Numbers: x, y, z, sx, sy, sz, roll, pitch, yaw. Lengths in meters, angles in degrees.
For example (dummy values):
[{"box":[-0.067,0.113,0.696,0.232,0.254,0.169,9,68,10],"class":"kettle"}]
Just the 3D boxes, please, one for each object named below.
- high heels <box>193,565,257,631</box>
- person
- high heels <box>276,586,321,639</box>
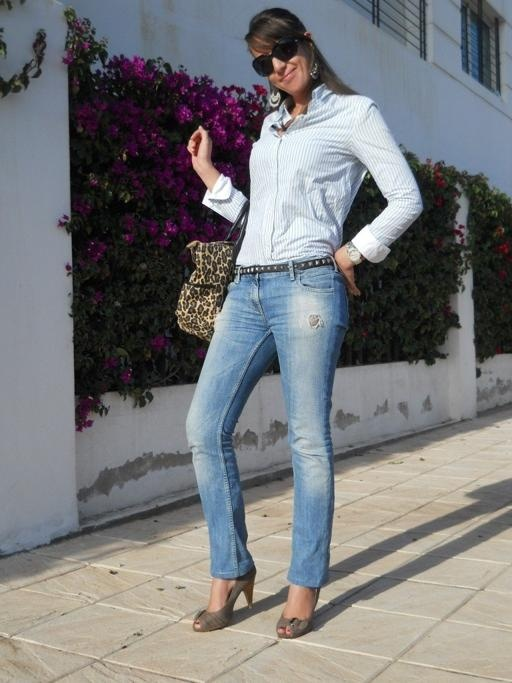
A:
[{"box":[-0.121,0.872,2.601,0.281,0.165,0.093,-13,-2,-31],"class":"high heels"},{"box":[0.149,-0.094,2.569,0.793,2.131,0.294,-1,1,0],"class":"person"},{"box":[0.139,0.895,2.501,0.080,0.091,0.239,3,3,14],"class":"high heels"}]
